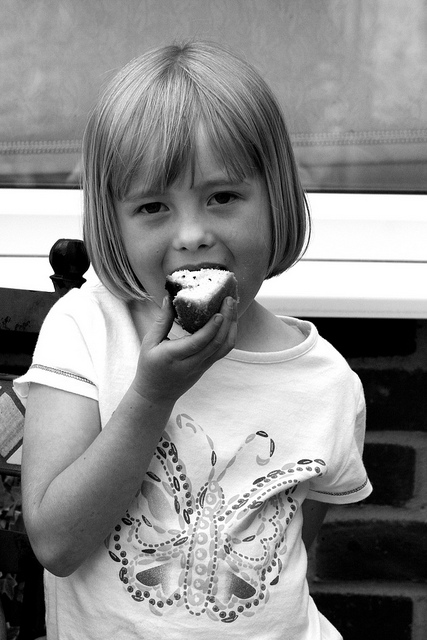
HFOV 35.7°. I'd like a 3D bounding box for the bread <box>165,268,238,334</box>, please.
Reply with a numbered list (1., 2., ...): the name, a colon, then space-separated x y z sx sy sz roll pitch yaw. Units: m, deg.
1. bread: -0.013 -0.018 0.778 0.081 0.075 0.068 -4 12 1
